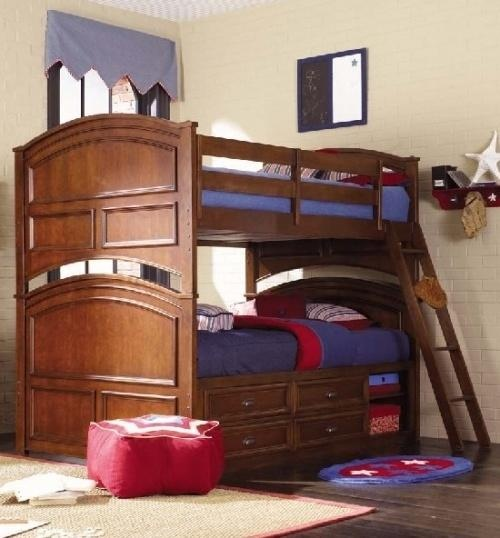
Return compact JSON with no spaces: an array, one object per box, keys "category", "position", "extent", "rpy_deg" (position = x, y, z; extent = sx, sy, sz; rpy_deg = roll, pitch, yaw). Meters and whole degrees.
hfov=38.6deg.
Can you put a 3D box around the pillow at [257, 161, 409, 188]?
[{"category":"pillow","position":[0.566,-0.591,4.822],"extent":[0.879,0.227,0.105],"rpy_deg":[2,-17,11]}]

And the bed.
[{"category":"bed","position":[0.446,0.168,4.877],"extent":[3.291,1.931,1.929],"rpy_deg":[1,-1,-33]}]
